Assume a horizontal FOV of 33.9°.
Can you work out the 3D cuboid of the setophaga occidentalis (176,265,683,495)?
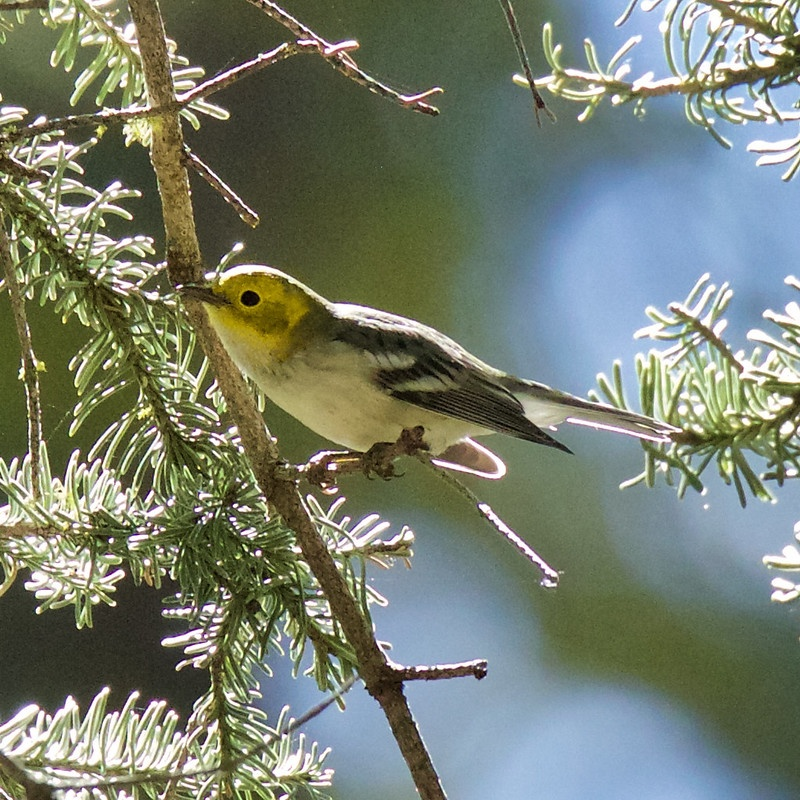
[{"bbox_3d":[0.071,-0.046,3.169,1.216,0.339,0.442,6,-94,-16],"label":"setophaga occidentalis"}]
